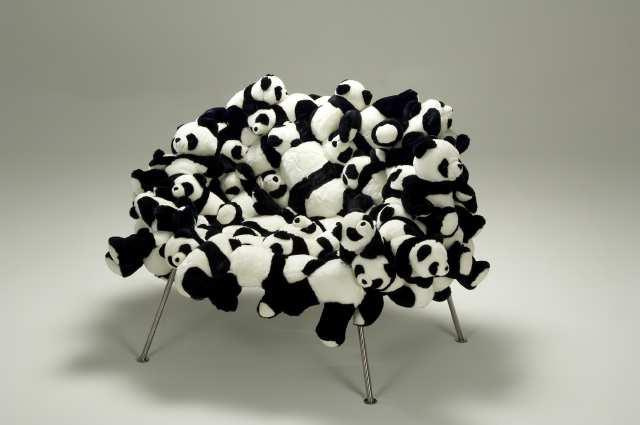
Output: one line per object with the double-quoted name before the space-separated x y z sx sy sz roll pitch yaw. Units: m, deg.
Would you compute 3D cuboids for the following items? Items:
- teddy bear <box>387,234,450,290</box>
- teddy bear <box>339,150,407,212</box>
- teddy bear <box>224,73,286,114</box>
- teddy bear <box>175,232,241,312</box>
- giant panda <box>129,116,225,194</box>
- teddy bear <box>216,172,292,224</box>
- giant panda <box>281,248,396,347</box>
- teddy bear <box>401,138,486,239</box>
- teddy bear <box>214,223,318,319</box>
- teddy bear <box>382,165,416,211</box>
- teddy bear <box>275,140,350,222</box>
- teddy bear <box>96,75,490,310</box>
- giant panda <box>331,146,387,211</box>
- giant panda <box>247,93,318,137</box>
"teddy bear" 0.416 0.206 3.050 0.255 0.177 0.177 17 -63 23
"teddy bear" 0.229 -0.192 3.644 0.161 0.311 0.325 6 -28 -46
"teddy bear" -0.377 -0.661 3.906 0.360 0.257 0.142 -9 -69 28
"teddy bear" -0.479 0.251 3.133 0.273 0.159 0.332 38 -99 -19
"giant panda" -0.711 -0.251 3.613 0.456 0.401 0.392 -17 -66 -26
"teddy bear" -0.353 -0.063 3.682 0.349 0.251 0.140 -23 -25 -15
"giant panda" 0.100 0.352 3.022 0.543 0.316 0.411 4 -80 4
"teddy bear" 0.581 -0.117 3.242 0.406 0.324 0.474 1 -78 -20
"teddy bear" -0.254 0.303 3.204 0.425 0.420 0.152 16 -45 10
"teddy bear" 0.373 -0.133 3.393 0.101 0.210 0.165 27 -30 -29
"teddy bear" -0.040 -0.161 3.684 0.325 0.416 0.154 -17 -30 -5
"teddy bear" 0.000 -0.173 3.781 1.399 1.627 0.671 -2 -91 9
"giant panda" 0.219 -0.194 3.631 0.235 0.250 0.311 -24 -59 -43
"giant panda" -0.210 -0.555 3.916 0.463 0.324 0.187 -22 -72 -12
